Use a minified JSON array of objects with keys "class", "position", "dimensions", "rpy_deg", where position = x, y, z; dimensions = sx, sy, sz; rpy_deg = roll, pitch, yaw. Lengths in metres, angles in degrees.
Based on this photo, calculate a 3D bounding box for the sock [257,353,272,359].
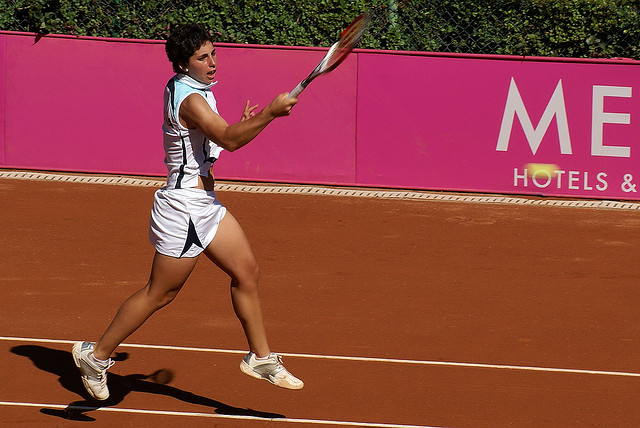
[{"class":"sock","position":[-0.517,1.303,7.989],"dimensions":[0.089,0.036,0.015],"rpy_deg":[6,8,6]}]
